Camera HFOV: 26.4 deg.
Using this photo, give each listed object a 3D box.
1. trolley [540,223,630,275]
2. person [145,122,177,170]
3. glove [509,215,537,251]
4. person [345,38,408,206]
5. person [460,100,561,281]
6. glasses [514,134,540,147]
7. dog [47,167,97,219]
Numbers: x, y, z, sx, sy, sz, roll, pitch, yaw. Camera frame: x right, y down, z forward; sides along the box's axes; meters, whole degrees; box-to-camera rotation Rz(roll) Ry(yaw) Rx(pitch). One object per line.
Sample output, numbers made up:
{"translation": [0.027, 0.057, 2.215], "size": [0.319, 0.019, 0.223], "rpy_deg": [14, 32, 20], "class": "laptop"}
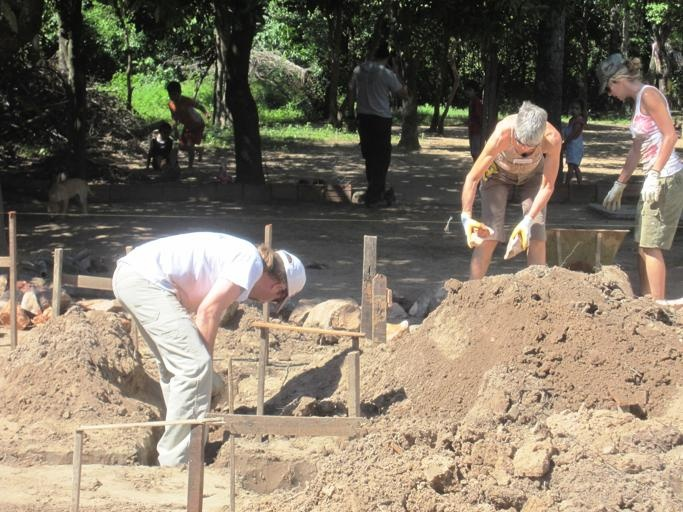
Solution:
{"translation": [3.416, -0.140, 20.498], "size": [0.752, 0.642, 0.730], "rpy_deg": [1, -2, -2], "class": "trolley"}
{"translation": [-3.550, -2.154, 28.579], "size": [0.476, 0.964, 1.671], "rpy_deg": [-2, 9, -15], "class": "person"}
{"translation": [2.429, -0.326, 19.488], "size": [0.272, 0.490, 0.180], "rpy_deg": [3, -4, 20], "class": "glove"}
{"translation": [0.581, -2.237, 25.069], "size": [0.872, 2.801, 1.001], "rpy_deg": [0, 8, 0], "class": "person"}
{"translation": [2.278, -0.878, 19.481], "size": [1.260, 2.400, 0.768], "rpy_deg": [2, 8, 9], "class": "person"}
{"translation": [2.438, -1.534, 19.052], "size": [0.188, 0.122, 0.200], "rpy_deg": [7, 1, 2], "class": "glasses"}
{"translation": [-4.627, -1.104, 24.655], "size": [0.659, 0.707, 1.027], "rpy_deg": [-1, 9, -9], "class": "dog"}
